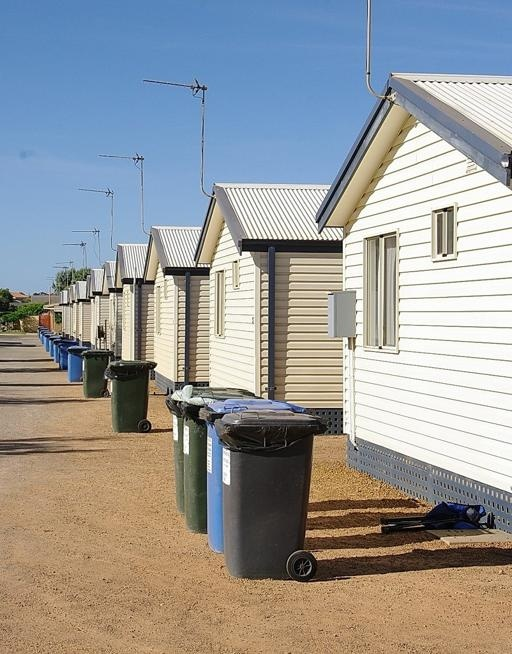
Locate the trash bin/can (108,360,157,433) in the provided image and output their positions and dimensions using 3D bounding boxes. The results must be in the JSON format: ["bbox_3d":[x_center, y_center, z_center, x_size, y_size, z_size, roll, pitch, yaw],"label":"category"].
[{"bbox_3d":[-2.120,1.376,13.400,0.823,1.344,0.783,4,-33,-14],"label":"trash bin/can"}]

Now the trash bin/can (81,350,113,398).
[{"bbox_3d":[-3.919,1.199,19.324,0.670,1.190,0.800,1,0,-13],"label":"trash bin/can"}]

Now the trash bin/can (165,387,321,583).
[{"bbox_3d":[-0.089,1.087,5.791,0.865,1.455,1.088,-1,-1,-14],"label":"trash bin/can"}]
